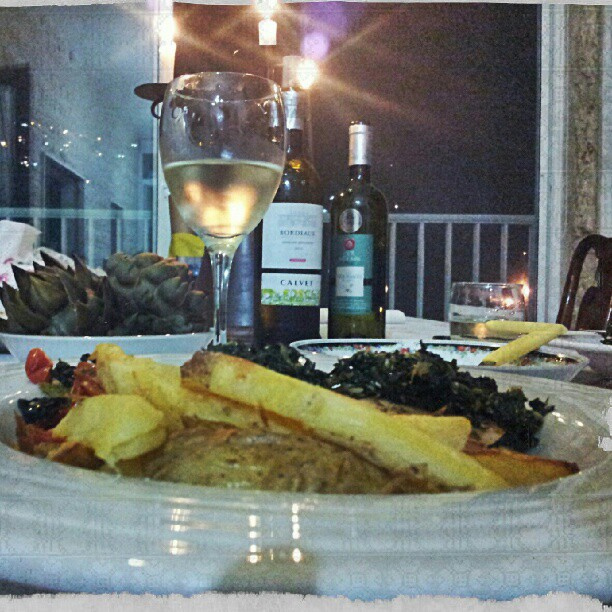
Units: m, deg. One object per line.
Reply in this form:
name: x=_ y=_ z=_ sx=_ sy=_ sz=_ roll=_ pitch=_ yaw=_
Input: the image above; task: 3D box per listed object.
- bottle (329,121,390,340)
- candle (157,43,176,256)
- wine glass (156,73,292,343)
bottle: x=0.038 y=-0.052 z=0.692 sx=0.042 sy=0.157 sz=0.098 roll=2 pitch=1 yaw=4
candle: x=-0.136 y=-0.161 z=0.943 sx=0.006 sy=0.232 sz=0.050 roll=-4 pitch=0 yaw=0
wine glass: x=-0.043 y=-0.059 z=0.610 sx=0.077 sy=0.153 sz=0.155 roll=2 pitch=1 yaw=21
